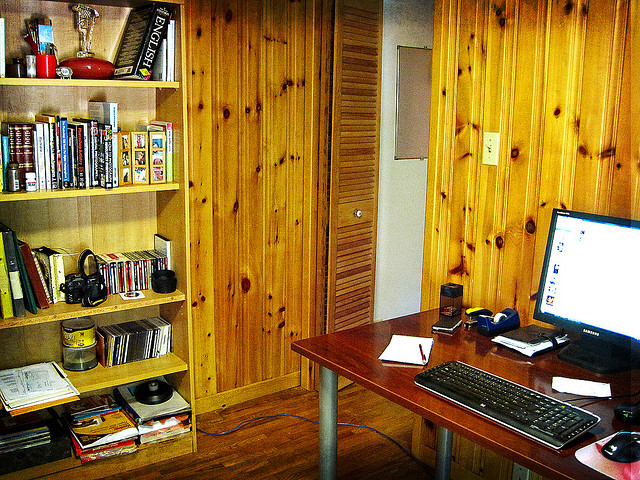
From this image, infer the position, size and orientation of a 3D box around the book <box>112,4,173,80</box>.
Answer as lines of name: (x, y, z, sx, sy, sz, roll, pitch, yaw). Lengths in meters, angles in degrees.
book: (-0.805, -0.910, 2.347, 0.108, 0.281, 0.303, 20, 14, -24)

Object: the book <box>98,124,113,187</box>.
book: (-0.966, -0.398, 2.302, 0.035, 0.318, 0.253, -3, 7, -29)

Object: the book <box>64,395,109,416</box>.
book: (-1.164, 0.823, 2.547, 0.172, 0.011, 0.142, -12, 19, -41)

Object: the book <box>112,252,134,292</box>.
book: (-0.971, 0.166, 2.516, 0.050, 0.140, 0.151, -5, 16, -25)

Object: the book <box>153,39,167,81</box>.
book: (-0.738, -0.845, 2.362, 0.015, 0.146, 0.127, 8, 29, -23)

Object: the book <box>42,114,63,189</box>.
book: (-1.168, -0.388, 2.222, 0.031, 0.308, 0.264, -4, 14, -30)

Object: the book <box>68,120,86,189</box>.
book: (-1.087, -0.385, 2.280, 0.037, 0.276, 0.239, -7, 17, -29)

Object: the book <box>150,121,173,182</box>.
book: (-0.763, -0.426, 2.452, 0.038, 0.289, 0.253, -4, 12, -30)

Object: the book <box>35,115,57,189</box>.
book: (-1.186, -0.383, 2.208, 0.039, 0.296, 0.261, -4, 14, -28)

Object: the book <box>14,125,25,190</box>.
book: (-1.278, -0.357, 2.181, 0.034, 0.268, 0.034, 1, 14, -1)

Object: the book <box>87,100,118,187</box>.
book: (-0.981, -0.424, 2.312, 0.051, 0.385, 0.331, -3, 12, -26)

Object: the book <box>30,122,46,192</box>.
book: (-1.213, -0.366, 2.192, 0.040, 0.282, 0.245, -4, 13, -31)

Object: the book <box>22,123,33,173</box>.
book: (-1.246, -0.394, 2.183, 0.032, 0.196, 0.051, 3, 14, 6)

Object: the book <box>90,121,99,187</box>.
book: (-1.026, -0.394, 2.323, 0.030, 0.286, 0.058, -4, 15, -20)

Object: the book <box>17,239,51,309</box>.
book: (-1.238, 0.148, 2.281, 0.058, 0.245, 0.243, -18, 12, -18)

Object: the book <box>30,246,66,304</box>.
book: (-1.242, 0.166, 2.332, 0.080, 0.216, 0.229, -12, 13, -37)

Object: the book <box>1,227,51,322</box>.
book: (-1.309, 0.147, 2.258, 0.109, 0.357, 0.261, -10, 16, -28)

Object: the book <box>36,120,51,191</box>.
book: (-1.192, -0.372, 2.201, 0.040, 0.292, 0.251, -4, 14, -31)

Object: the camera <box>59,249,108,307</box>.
camera: (-1.110, 0.192, 2.404, 0.211, 0.215, 0.155, -2, 10, 10)

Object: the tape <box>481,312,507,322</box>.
tape: (0.708, 0.306, 2.037, 0.058, 0.023, 0.042, -5, 13, -16)

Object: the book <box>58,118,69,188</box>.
book: (-1.133, -0.392, 2.253, 0.030, 0.298, 0.253, -6, 16, -29)

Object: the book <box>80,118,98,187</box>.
book: (-1.040, -0.396, 2.300, 0.039, 0.289, 0.247, -6, 15, -33)
